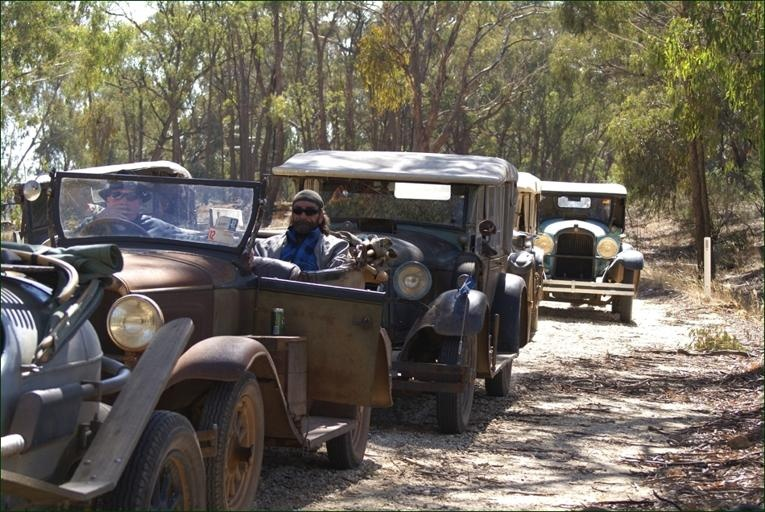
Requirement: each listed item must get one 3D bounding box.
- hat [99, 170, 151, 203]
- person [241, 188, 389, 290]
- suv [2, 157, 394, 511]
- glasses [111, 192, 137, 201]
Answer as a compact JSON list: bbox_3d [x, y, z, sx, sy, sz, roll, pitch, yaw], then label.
[{"bbox_3d":[-2.436,-0.644,7.264,0.480,0.176,0.540,0,-15,-6],"label":"hat"},{"bbox_3d":[-0.688,-0.076,7.734,0.854,0.690,1.346,-1,-8,9],"label":"person"},{"bbox_3d":[-1.625,0.535,6.593,1.972,1.963,3.849,0,-6,17],"label":"suv"},{"bbox_3d":[-2.401,-0.558,7.185,0.114,0.044,0.128,1,-5,-4],"label":"glasses"}]
